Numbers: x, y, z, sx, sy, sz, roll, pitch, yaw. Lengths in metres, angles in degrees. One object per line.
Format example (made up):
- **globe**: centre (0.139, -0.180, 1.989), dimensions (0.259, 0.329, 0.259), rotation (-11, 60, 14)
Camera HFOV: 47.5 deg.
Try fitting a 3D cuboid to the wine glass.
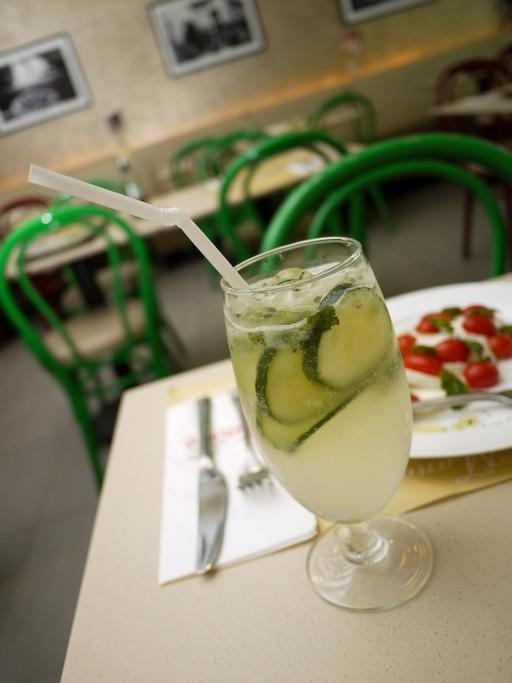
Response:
- **wine glass**: centre (0.049, 0.042, 0.384), dimensions (0.107, 0.206, 0.223), rotation (-18, 38, 12)
